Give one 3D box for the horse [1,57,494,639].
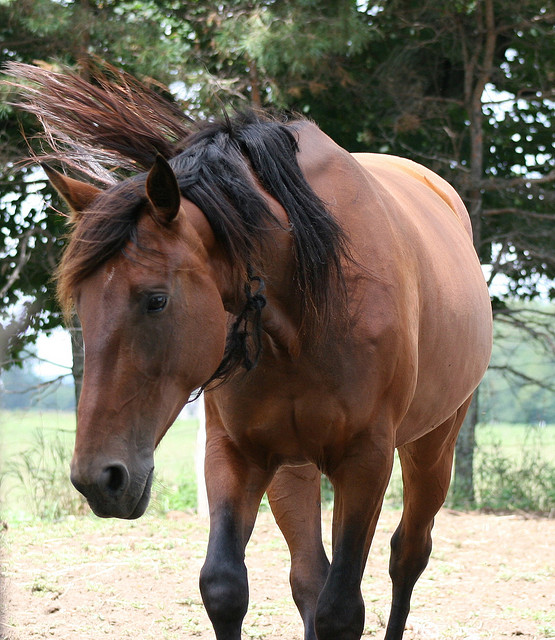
[{"bbox_3d":[-0.012,0.127,3.723,0.937,1.969,1.979,7,8,43],"label":"horse"}]
